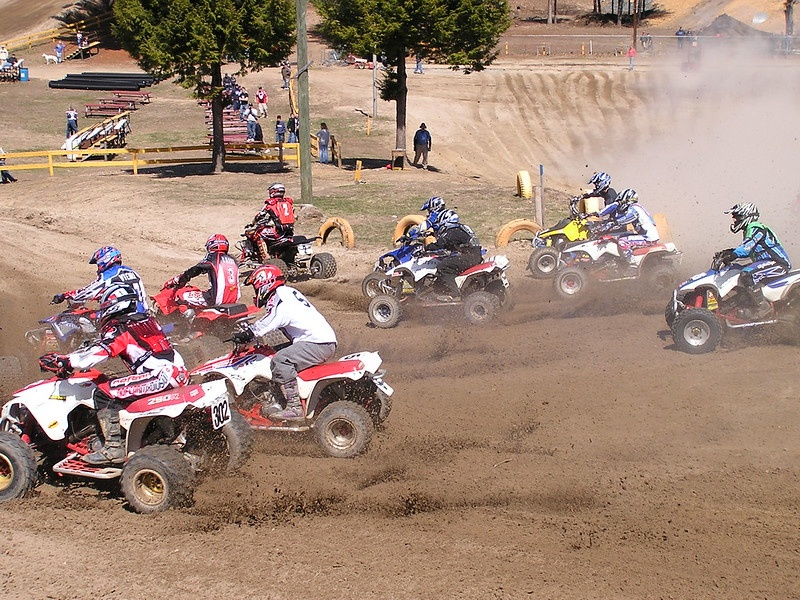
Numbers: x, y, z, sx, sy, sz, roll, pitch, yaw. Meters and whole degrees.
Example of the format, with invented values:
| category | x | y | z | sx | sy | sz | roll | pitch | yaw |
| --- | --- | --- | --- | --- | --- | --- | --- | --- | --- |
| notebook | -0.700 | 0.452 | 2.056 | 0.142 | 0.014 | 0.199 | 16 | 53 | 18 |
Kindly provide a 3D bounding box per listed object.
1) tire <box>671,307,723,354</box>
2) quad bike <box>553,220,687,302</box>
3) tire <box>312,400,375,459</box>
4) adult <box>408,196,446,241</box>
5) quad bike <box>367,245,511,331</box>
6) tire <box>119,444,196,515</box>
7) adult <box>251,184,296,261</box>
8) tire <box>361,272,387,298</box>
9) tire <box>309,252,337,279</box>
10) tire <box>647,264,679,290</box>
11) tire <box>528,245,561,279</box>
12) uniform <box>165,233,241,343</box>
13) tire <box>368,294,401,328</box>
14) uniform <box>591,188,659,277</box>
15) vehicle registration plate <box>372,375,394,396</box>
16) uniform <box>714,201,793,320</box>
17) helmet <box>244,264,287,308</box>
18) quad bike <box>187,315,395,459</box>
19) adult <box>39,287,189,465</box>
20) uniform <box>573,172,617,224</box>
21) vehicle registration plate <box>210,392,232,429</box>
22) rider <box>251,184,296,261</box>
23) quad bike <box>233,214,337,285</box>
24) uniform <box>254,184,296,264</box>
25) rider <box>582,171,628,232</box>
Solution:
| category | x | y | z | sx | sy | sz | roll | pitch | yaw |
| --- | --- | --- | --- | --- | --- | --- | --- | --- | --- |
| tire | 5.526 | 0.588 | 17.884 | 0.848 | 0.846 | 0.271 | -1 | 2 | 3 |
| quad bike | 5.051 | -0.960 | 21.441 | 1.520 | 1.604 | 3.284 | -4 | -4 | -26 |
| tire | -0.892 | 2.005 | 14.690 | 0.711 | 0.711 | 0.250 | -13 | 12 | 18 |
| adult | 0.568 | -1.625 | 19.543 | 0.330 | 0.915 | 0.700 | 38 | 29 | -13 |
| quad bike | 0.794 | -0.274 | 19.577 | 2.554 | 1.179 | 1.490 | 2 | 14 | 9 |
| tire | -3.522 | 2.609 | 13.768 | 1.027 | 1.017 | 0.368 | 3 | 15 | 16 |
| adult | -2.771 | -1.764 | 21.484 | 0.913 | 1.091 | 1.703 | -4 | 39 | -13 |
| tire | -0.542 | -0.296 | 20.121 | 0.511 | 0.515 | 0.182 | -4 | 11 | 29 |
| tire | -1.829 | -0.774 | 22.330 | 0.520 | 0.522 | 0.223 | 11 | 12 | 32 |
| tire | 5.802 | -0.483 | 21.103 | 0.547 | 0.549 | 0.129 | -5 | 6 | 10 |
| tire | 3.341 | -0.846 | 22.074 | 0.639 | 0.638 | 0.250 | 14 | 18 | -16 |
| uniform | -3.699 | -0.226 | 17.806 | 2.097 | 1.994 | 0.981 | 5 | -7 | 36 |
| tire | -0.321 | 0.245 | 19.337 | 0.612 | 0.619 | 0.198 | 6 | 8 | 19 |
| uniform | 5.407 | -1.494 | 22.343 | 1.746 | 2.230 | 1.029 | 4 | -11 | 2 |
| vehicle registration plate | -0.303 | 1.327 | 15.014 | 0.104 | 0.439 | 0.202 | 19 | 57 | 47 |
| uniform | 6.663 | -0.727 | 18.074 | 1.292 | 2.048 | 0.548 | 5 | 17 | 21 |
| helmet | -2.097 | -0.164 | 14.658 | 0.520 | 0.721 | 0.408 | 6 | 17 | 23 |
| quad bike | -1.820 | 1.342 | 15.163 | 3.304 | 1.991 | 1.864 | 2 | 3 | 15 |
| adult | -4.047 | 1.132 | 14.003 | 1.801 | 2.604 | 0.661 | -6 | 16 | -16 |
| uniform | 4.571 | -2.159 | 22.526 | 1.058 | 1.582 | 0.949 | -5 | 8 | -26 |
| vehicle registration plate | -2.629 | 1.585 | 13.905 | 0.065 | 0.346 | 0.487 | -4 | 18 | 25 |
| rider | -2.957 | -2.108 | 21.961 | 0.913 | 1.091 | 1.703 | -4 | 39 | -13 |
| quad bike | -2.526 | -1.107 | 22.013 | 1.934 | 0.942 | 1.260 | 9 | 15 | 39 |
| uniform | -2.917 | -1.647 | 21.785 | 1.073 | 1.954 | 0.800 | 10 | 11 | 27 |
| rider | 4.707 | -1.983 | 22.331 | 0.963 | 1.853 | 0.957 | -2 | 10 | 36 |
